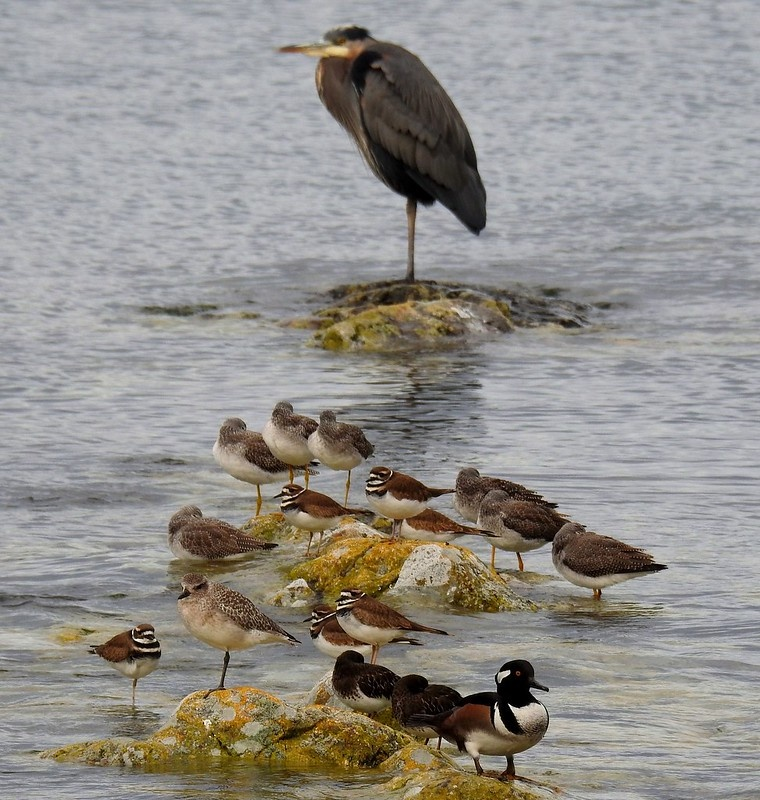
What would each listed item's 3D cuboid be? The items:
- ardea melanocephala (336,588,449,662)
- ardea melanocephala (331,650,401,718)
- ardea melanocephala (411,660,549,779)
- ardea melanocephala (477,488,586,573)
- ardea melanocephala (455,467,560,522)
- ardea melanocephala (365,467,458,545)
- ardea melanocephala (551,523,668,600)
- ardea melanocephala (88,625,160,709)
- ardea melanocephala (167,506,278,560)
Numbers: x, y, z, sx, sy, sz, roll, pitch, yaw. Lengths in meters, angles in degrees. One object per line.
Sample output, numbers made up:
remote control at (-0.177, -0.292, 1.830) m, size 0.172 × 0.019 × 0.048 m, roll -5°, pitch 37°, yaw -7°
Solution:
ardea melanocephala at (0.103, 1.813, 11.095) m, size 0.969 × 0.453 × 0.298 m, roll 4°, pitch -25°, yaw -11°
ardea melanocephala at (-0.127, 2.152, 10.511) m, size 0.470 × 0.474 × 0.731 m, roll -3°, pitch -7°, yaw 38°
ardea melanocephala at (0.742, 2.088, 9.222) m, size 0.351 × 0.842 × 0.773 m, roll -3°, pitch 14°, yaw -31°
ardea melanocephala at (1.446, 1.311, 13.952) m, size 1.365 × 0.784 × 0.594 m, roll 2°, pitch -9°, yaw -28°
ardea melanocephala at (1.205, 1.000, 14.916) m, size 1.106 × 0.571 × 0.554 m, roll -5°, pitch 20°, yaw -37°
ardea melanocephala at (0.289, 0.995, 13.587) m, size 1.240 × 0.640 × 0.547 m, roll 0°, pitch -2°, yaw -39°
ardea melanocephala at (2.156, 1.546, 13.245) m, size 1.276 × 0.659 × 0.551 m, roll 3°, pitch -2°, yaw 8°
ardea melanocephala at (-2.175, 2.010, 10.977) m, size 0.384 × 0.537 × 0.850 m, roll 0°, pitch 0°, yaw -33°
ardea melanocephala at (-1.657, 1.392, 14.054) m, size 1.307 × 0.527 × 0.469 m, roll -4°, pitch 0°, yaw 28°
